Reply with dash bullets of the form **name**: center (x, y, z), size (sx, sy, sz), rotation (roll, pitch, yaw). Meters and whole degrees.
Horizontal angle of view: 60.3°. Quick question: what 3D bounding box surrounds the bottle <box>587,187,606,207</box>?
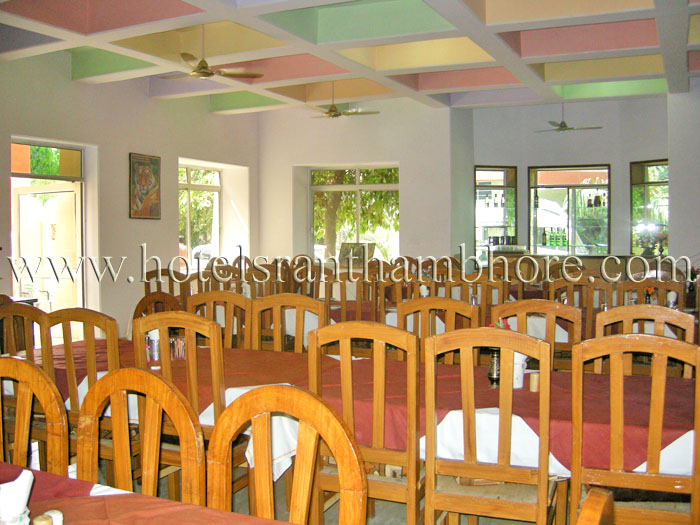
- **bottle**: center (4.475, -1.194, 10.979), size (0.341, 0.385, 0.110), rotation (2, 2, 24)

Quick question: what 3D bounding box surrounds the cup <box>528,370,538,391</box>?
- **cup**: center (0.834, 0.546, 2.787), size (0.051, 0.094, 0.094), rotation (0, 0, 27)

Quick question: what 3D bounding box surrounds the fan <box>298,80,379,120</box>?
- **fan**: center (-0.066, -2.231, 8.672), size (0.920, 0.406, 0.898), rotation (-2, 3, -45)
